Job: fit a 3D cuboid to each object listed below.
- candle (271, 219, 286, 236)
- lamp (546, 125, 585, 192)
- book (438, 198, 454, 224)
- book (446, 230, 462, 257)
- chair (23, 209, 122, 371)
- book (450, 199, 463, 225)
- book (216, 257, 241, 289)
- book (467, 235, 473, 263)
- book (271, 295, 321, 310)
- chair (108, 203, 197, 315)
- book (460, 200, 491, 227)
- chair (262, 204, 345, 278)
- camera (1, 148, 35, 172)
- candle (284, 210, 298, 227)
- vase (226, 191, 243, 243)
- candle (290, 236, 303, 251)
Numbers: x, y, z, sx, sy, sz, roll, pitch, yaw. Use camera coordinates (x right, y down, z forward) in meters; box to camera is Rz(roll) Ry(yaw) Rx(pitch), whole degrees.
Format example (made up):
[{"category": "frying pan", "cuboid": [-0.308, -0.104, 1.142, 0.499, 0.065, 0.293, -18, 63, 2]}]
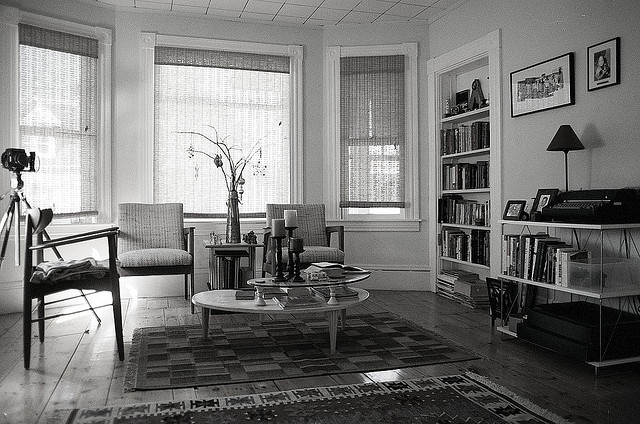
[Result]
[{"category": "candle", "cuboid": [-0.346, 0.131, 3.925, 0.139, 0.134, 0.130, 0, -1, -13]}, {"category": "lamp", "cuboid": [2.208, -0.489, 4.166, 0.315, 0.580, 0.223, 2, 7, 15]}, {"category": "book", "cuboid": [1.558, -0.017, 6.018, 0.287, 0.340, 0.384, 1, 0, 7]}, {"category": "book", "cuboid": [1.626, 0.373, 5.863, 0.291, 0.333, 0.374, 0, 2, 13]}, {"category": "chair", "cuboid": [-2.416, 0.512, 4.490, 0.885, 1.237, 2.233, -3, 7, -23]}, {"category": "book", "cuboid": [1.698, 0.007, 5.765, 0.191, 0.296, 0.332, 2, 1, 16]}, {"category": "book", "cuboid": [-0.990, 0.692, 5.304, 0.350, 0.420, 0.329, 0, 1, -16]}, {"category": "book", "cuboid": [1.769, 0.437, 5.495, 0.061, 0.221, 0.244, -1, 2, 24]}, {"category": "book", "cuboid": [-0.202, 0.750, 3.878, 0.416, 0.047, 0.285, 0, 6, -1]}, {"category": "chair", "cuboid": [-1.885, 0.470, 5.218, 0.994, 1.022, 0.805, 1, 5, -11]}, {"category": "book", "cuboid": [1.792, 0.029, 5.564, 0.540, 0.282, 0.208, 3, -6, -30]}, {"category": "chair", "cuboid": [-0.246, 0.424, 5.558, 1.036, 1.034, 0.897, 0, -2, -29]}, {"category": "camera", "cuboid": [-3.029, -0.512, 4.665, 0.275, 0.223, 0.193, -4, 8, -32]}, {"category": "candle", "cuboid": [-0.260, 0.066, 3.955, 0.137, 0.132, 0.128, -1, 0, 9]}, {"category": "vase", "cuboid": [-1.001, 0.057, 5.344, 0.164, 0.586, 0.198, -1, 7, -10]}, {"category": "candle", "cuboid": [-0.192, 0.272, 3.933, 0.116, 0.095, 0.108, -1, -4, 4]}]
